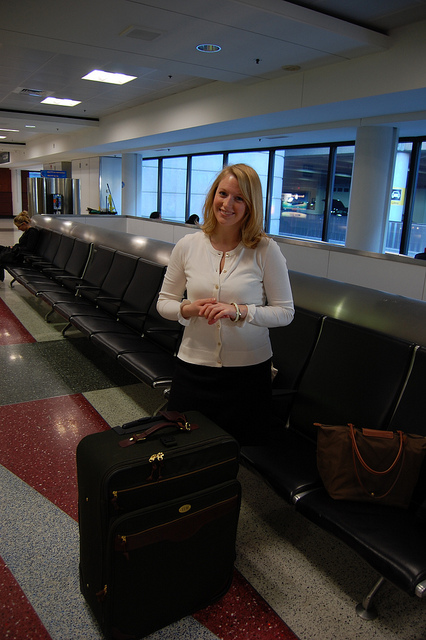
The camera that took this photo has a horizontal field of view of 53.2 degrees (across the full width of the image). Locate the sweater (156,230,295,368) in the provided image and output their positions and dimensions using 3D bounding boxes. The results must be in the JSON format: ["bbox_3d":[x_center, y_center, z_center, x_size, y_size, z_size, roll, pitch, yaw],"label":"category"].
[{"bbox_3d":[0.032,-0.076,1.465,0.481,0.426,0.283,3,13,10],"label":"sweater"}]

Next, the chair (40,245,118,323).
[{"bbox_3d":[-1.301,-0.361,4.394,0.577,0.734,0.757,-10,21,-34],"label":"chair"}]

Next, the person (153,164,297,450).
[{"bbox_3d":[0.044,-0.004,1.466,0.470,1.029,0.410,1,9,-8],"label":"person"}]

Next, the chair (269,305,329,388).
[{"bbox_3d":[0.392,0.132,1.911,0.170,0.250,0.373,0,6,-8],"label":"chair"}]

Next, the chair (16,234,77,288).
[{"bbox_3d":[-2.091,-0.735,5.509,0.667,0.800,0.808,-10,19,-38],"label":"chair"}]

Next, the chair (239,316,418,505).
[{"bbox_3d":[0.507,0.289,1.779,0.578,0.572,0.849,-5,18,-29],"label":"chair"}]

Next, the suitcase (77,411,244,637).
[{"bbox_3d":[-0.144,0.563,1.189,0.420,0.525,0.285,-4,11,-32],"label":"suitcase"}]

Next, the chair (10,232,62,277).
[{"bbox_3d":[-2.451,-0.944,5.936,0.585,0.635,0.729,-11,40,-37],"label":"chair"}]

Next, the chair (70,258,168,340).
[{"bbox_3d":[-0.706,-0.175,3.476,0.626,0.666,0.811,-7,19,-32],"label":"chair"}]

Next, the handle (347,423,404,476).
[{"bbox_3d":[0.491,0.400,1.266,0.157,0.166,0.022,1,18,34],"label":"handle"}]

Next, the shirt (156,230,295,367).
[{"bbox_3d":[0.038,-0.086,1.501,0.366,0.456,0.403,-4,11,-33],"label":"shirt"}]

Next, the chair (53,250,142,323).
[{"bbox_3d":[-0.945,-0.299,3.910,0.612,0.678,0.830,-9,20,-36],"label":"chair"}]
